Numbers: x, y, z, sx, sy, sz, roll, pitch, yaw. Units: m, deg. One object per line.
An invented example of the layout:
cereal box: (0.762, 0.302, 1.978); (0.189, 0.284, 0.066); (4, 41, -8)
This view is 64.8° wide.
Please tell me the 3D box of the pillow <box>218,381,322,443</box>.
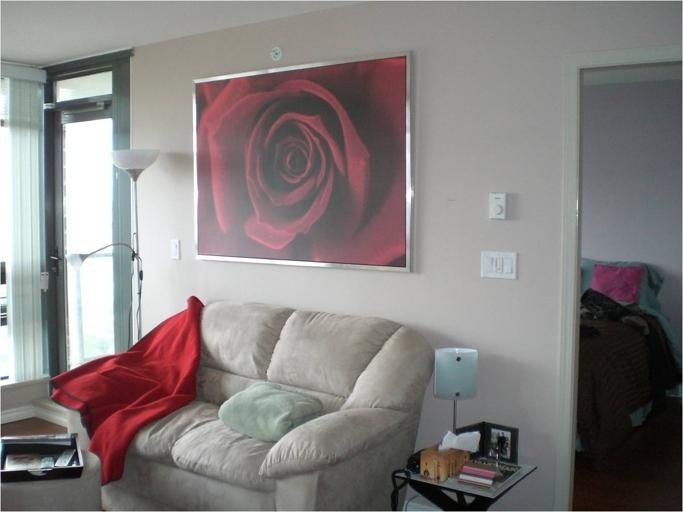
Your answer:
pillow: (-0.384, 0.865, 3.014); (0.517, 0.225, 0.388); (0, 3, 33)

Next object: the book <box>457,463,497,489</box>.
book: (0.657, 1.058, 2.579); (0.101, 0.046, 0.104); (3, 4, 36)

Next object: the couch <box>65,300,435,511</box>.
couch: (-0.353, 0.885, 3.087); (1.611, 1.079, 0.961); (0, 3, 27)

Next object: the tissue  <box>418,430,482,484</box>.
tissue : (0.530, 1.007, 2.717); (0.177, 0.191, 0.245); (-11, -7, 41)

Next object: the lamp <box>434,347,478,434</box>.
lamp: (0.623, 0.634, 2.908); (0.231, 0.255, 0.139); (-1, 2, 5)

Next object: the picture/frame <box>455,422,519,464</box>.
picture/frame: (0.777, 0.898, 2.834); (0.274, 0.239, 0.233); (-3, -3, 43)
